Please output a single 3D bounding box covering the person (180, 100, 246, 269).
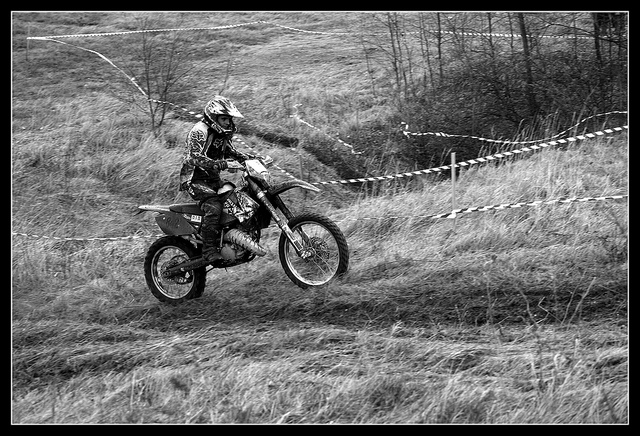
[{"bbox_3d":[-1.431,-0.442,9.109,0.840,2.252,0.532,-8,6,-12],"label":"person"}]

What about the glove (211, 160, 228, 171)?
[{"bbox_3d":[-1.316,-0.692,8.921,0.144,0.057,0.185,-4,13,-42],"label":"glove"}]

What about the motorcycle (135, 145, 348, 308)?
[{"bbox_3d":[-1.190,0.253,9.339,3.613,1.577,1.060,-9,-10,36],"label":"motorcycle"}]
